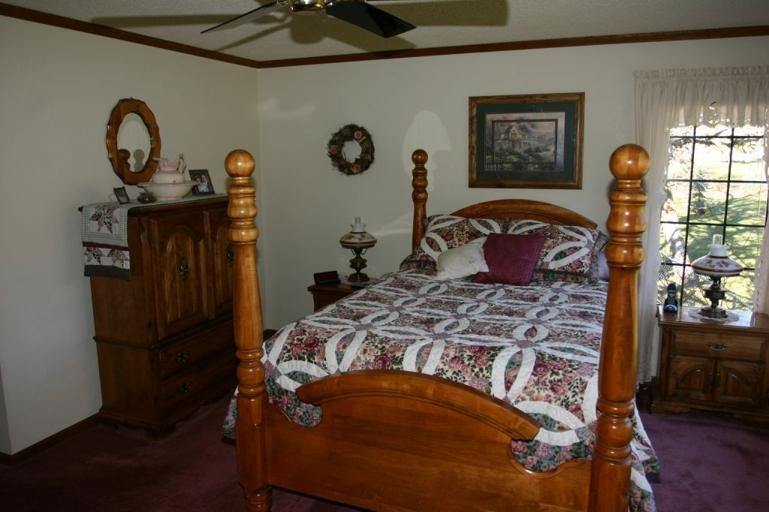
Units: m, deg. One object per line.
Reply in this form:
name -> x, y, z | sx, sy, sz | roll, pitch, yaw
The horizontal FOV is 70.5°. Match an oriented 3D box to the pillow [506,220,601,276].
pillow -> 1.461, -0.089, 4.400 | 0.768, 0.420, 0.194 | 9, -24, 6

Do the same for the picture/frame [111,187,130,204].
picture/frame -> -2.055, -0.476, 4.243 | 0.047, 0.145, 0.163 | -12, 3, 16

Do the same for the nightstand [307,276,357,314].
nightstand -> -0.508, 0.341, 5.118 | 0.431, 0.371, 0.302 | 6, 16, 17

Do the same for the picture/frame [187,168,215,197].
picture/frame -> -1.625, -0.649, 4.767 | 0.022, 0.269, 0.284 | -9, 16, 25

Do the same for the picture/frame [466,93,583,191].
picture/frame -> 1.298, -1.062, 4.902 | 1.040, 0.752, 0.043 | 2, 11, 15

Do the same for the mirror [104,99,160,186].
mirror -> -2.059, -0.943, 4.489 | 0.116, 0.702, 0.482 | 4, 12, 25
